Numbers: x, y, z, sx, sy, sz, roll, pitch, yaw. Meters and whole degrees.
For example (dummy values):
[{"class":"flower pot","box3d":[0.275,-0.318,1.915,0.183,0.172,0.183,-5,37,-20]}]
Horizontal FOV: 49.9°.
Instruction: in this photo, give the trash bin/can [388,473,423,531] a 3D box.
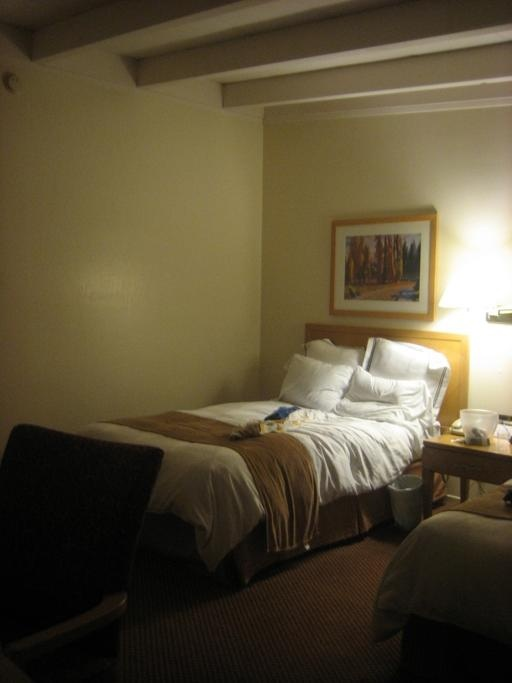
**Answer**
[{"class":"trash bin/can","box3d":[0.965,1.031,3.505,0.203,0.291,0.241,-8,7,7]}]

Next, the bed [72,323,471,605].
[{"class":"bed","box3d":[0.213,0.504,3.521,1.926,1.061,1.378,4,-4,-44]}]

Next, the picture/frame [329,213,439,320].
[{"class":"picture/frame","box3d":[1.057,-0.608,4.406,0.038,0.773,0.855,-2,4,-44]}]
